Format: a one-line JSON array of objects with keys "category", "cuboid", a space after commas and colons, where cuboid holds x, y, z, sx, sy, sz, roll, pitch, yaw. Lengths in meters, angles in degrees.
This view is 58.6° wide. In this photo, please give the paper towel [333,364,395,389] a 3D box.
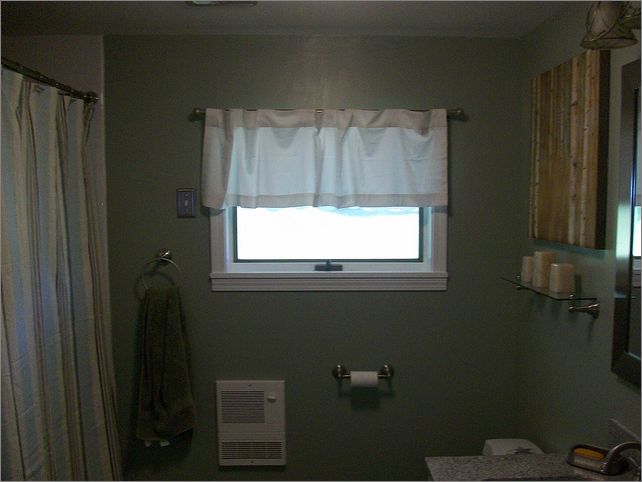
[{"category": "paper towel", "cuboid": [0.235, 0.771, 3.170, 0.345, 0.131, 0.110, -1, 5, 1]}]

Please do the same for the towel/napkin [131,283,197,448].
[{"category": "towel/napkin", "cuboid": [-0.854, 0.684, 3.095, 0.295, 0.872, 0.096, 0, 7, -6]}]
